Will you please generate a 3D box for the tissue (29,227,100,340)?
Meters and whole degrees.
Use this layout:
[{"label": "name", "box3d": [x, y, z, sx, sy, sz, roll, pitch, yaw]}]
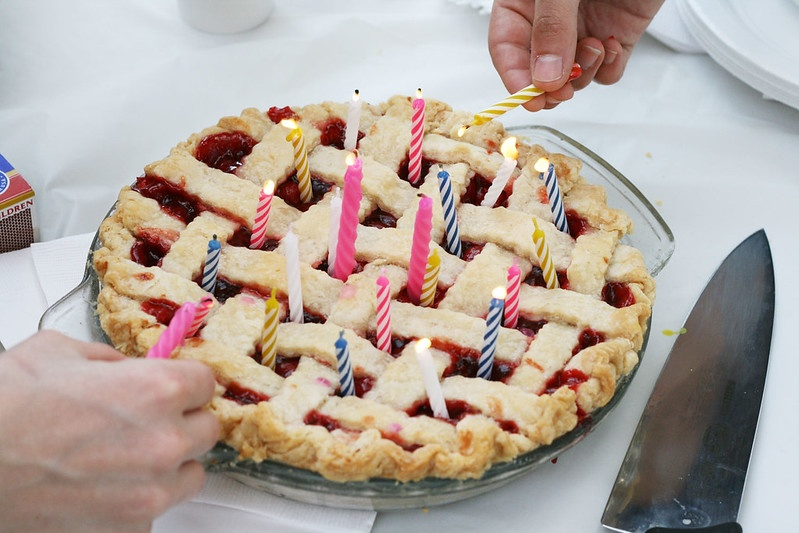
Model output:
[{"label": "tissue", "box3d": [-1.328, 0.077, 3.088, 0.303, 0.099, 0.504, -11, 52, -9]}]
